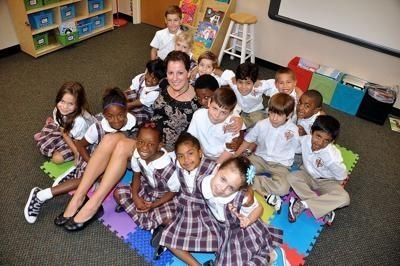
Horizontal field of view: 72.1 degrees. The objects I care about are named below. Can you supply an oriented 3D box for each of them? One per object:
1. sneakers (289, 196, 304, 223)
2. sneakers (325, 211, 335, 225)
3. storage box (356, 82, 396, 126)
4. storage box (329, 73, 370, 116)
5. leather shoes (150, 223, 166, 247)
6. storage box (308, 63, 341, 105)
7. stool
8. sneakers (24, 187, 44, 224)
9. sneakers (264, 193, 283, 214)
[{"bbox_3d":[0.976,0.769,2.802,0.138,0.100,0.304,0,63,14],"label":"sneakers"},{"bbox_3d":[1.356,0.873,2.861,0.097,0.037,0.141,16,75,47],"label":"sneakers"},{"bbox_3d":[2.512,-0.488,4.101,0.538,0.535,0.549,20,50,19],"label":"storage box"},{"bbox_3d":[2.158,-0.432,4.131,0.405,0.312,0.413,24,75,16],"label":"storage box"},{"bbox_3d":[-0.400,0.941,2.527,0.083,0.097,0.250,25,85,-14],"label":"leather shoes"},{"bbox_3d":[1.775,-0.678,3.900,0.459,0.477,0.346,26,46,22],"label":"storage box"},{"bbox_3d":[0.618,-1.507,4.484,0.560,0.727,0.578,11,35,5],"label":"stool"},{"bbox_3d":[-1.584,0.698,2.589,0.133,0.126,0.353,-17,61,21],"label":"sneakers"},{"bbox_3d":[0.776,0.705,2.890,0.109,0.095,0.240,-7,45,-44],"label":"sneakers"}]
